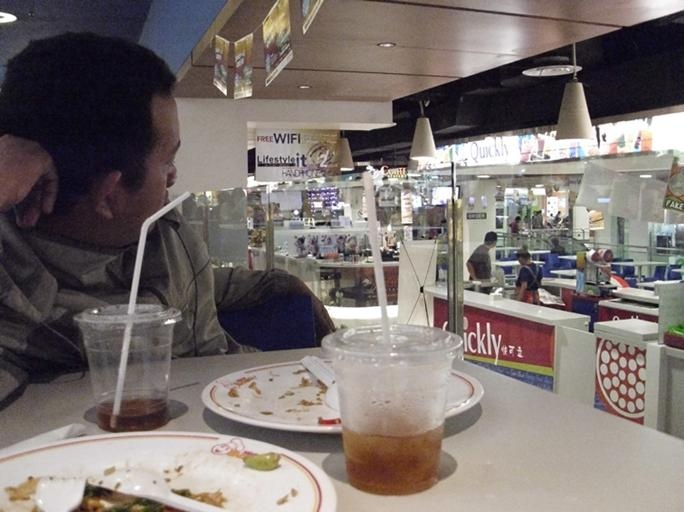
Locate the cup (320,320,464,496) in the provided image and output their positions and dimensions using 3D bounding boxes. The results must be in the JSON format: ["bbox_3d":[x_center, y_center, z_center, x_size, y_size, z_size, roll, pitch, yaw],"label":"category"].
[{"bbox_3d":[0.073,0.224,0.903,0.237,0.232,0.229,0,8,0],"label":"cup"}]

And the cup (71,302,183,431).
[{"bbox_3d":[-0.403,0.190,1.101,0.215,0.215,0.205,2,9,0],"label":"cup"}]
